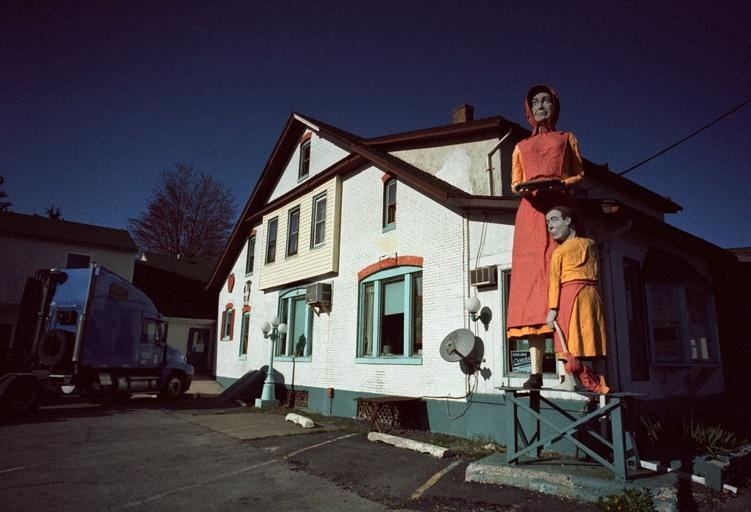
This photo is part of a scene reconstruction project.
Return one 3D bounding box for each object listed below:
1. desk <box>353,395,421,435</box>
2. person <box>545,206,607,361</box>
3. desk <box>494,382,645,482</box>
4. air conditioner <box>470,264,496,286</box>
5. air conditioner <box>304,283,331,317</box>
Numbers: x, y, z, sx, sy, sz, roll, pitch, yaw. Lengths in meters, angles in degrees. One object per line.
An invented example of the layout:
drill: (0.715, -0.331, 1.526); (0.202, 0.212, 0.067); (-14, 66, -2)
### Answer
desk: (0.337, 3.958, 13.032); (1.060, 0.731, 1.365); (11, -19, -35)
person: (3.450, 0.449, 9.029); (0.909, 2.631, 0.514); (-4, -18, 22)
desk: (3.669, 3.245, 9.645); (2.188, 1.492, 2.237); (-6, -19, 26)
air conditioner: (2.546, 0.487, 12.244); (0.735, 0.465, 0.193); (-13, -23, 42)
air conditioner: (-1.806, 1.371, 16.237); (0.590, 0.975, 0.775); (6, -11, -32)
